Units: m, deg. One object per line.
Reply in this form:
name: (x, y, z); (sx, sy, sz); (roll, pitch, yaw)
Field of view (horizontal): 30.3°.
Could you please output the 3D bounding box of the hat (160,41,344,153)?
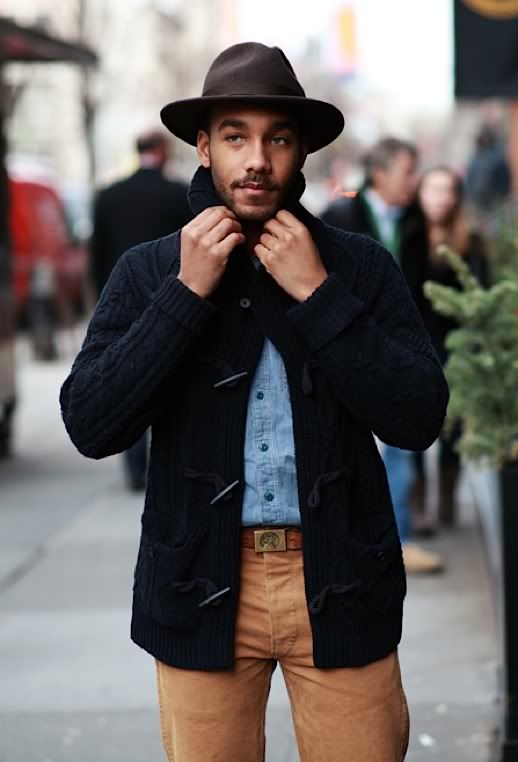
hat: (-0.002, -0.494, 1.762); (0.233, 0.088, 0.239); (1, -16, -1)
